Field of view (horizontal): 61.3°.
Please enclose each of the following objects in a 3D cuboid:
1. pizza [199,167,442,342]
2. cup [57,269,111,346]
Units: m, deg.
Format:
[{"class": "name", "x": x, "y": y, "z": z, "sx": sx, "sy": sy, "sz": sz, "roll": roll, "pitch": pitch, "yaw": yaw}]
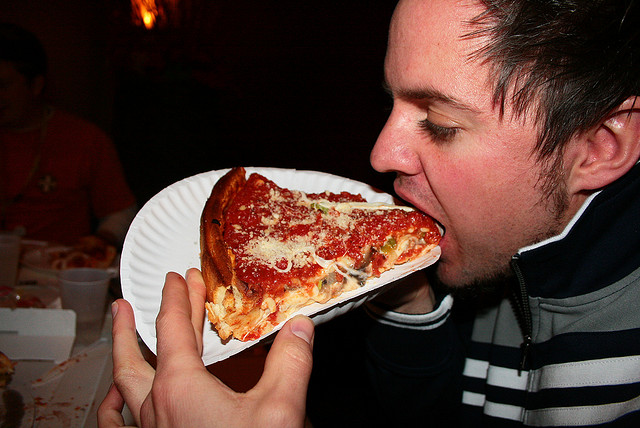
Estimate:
[{"class": "pizza", "x": 0.012, "y": 0.191, "z": 3.404, "sx": 1.480, "sy": 0.405, "sz": 1.306, "roll": -4, "pitch": 36, "yaw": -8}, {"class": "cup", "x": -1.583, "y": 0.641, "z": 3.667, "sx": 0.317, "sy": 0.469, "sz": 0.307, "roll": 2, "pitch": 13, "yaw": 0}]
